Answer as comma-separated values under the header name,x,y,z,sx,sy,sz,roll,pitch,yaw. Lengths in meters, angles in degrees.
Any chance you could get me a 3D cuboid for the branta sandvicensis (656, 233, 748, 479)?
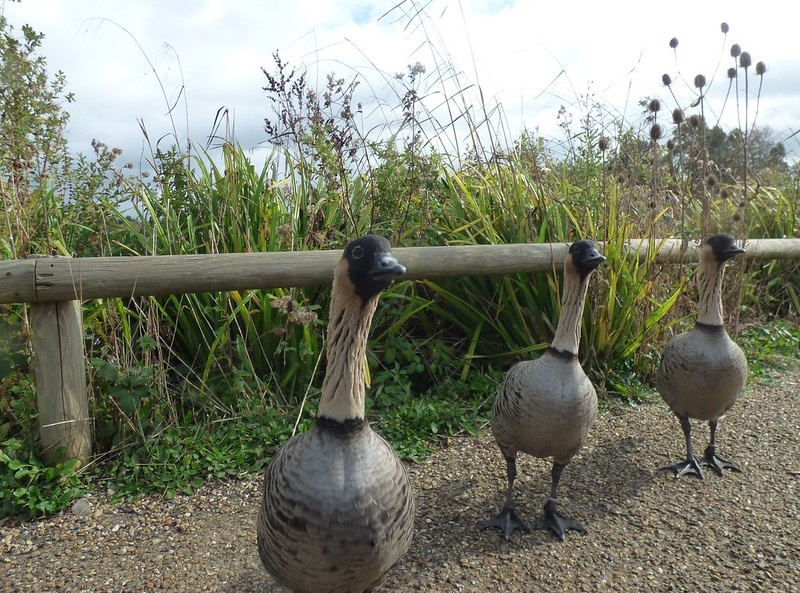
name,x,y,z,sx,sy,sz,roll,pitch,yaw
branta sandvicensis,2.425,0.483,5.427,0.702,1.898,0.523,-8,10,-30
